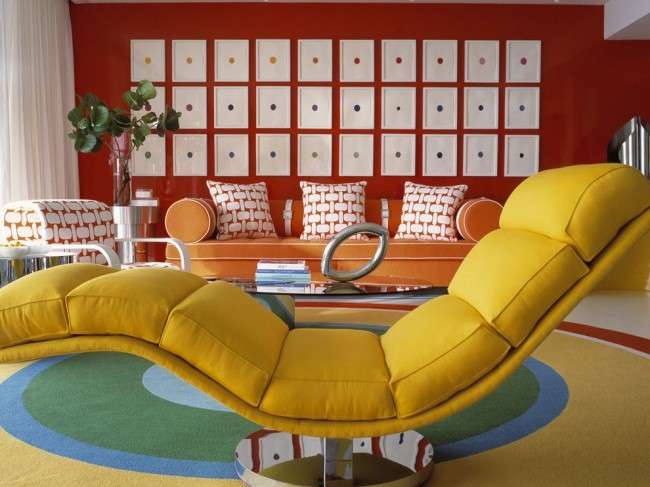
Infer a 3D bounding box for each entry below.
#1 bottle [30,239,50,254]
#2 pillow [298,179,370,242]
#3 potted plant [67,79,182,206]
[{"bbox_3d":[-1.705,0.018,3.313,0.086,0.046,0.089,0,2,0],"label":"bottle"},{"bbox_3d":[0.068,-0.282,5.202,0.607,0.580,0.235,0,-4,2],"label":"pillow"},{"bbox_3d":[-1.685,-0.860,4.824,0.868,1.060,0.775,5,15,-6],"label":"potted plant"}]
